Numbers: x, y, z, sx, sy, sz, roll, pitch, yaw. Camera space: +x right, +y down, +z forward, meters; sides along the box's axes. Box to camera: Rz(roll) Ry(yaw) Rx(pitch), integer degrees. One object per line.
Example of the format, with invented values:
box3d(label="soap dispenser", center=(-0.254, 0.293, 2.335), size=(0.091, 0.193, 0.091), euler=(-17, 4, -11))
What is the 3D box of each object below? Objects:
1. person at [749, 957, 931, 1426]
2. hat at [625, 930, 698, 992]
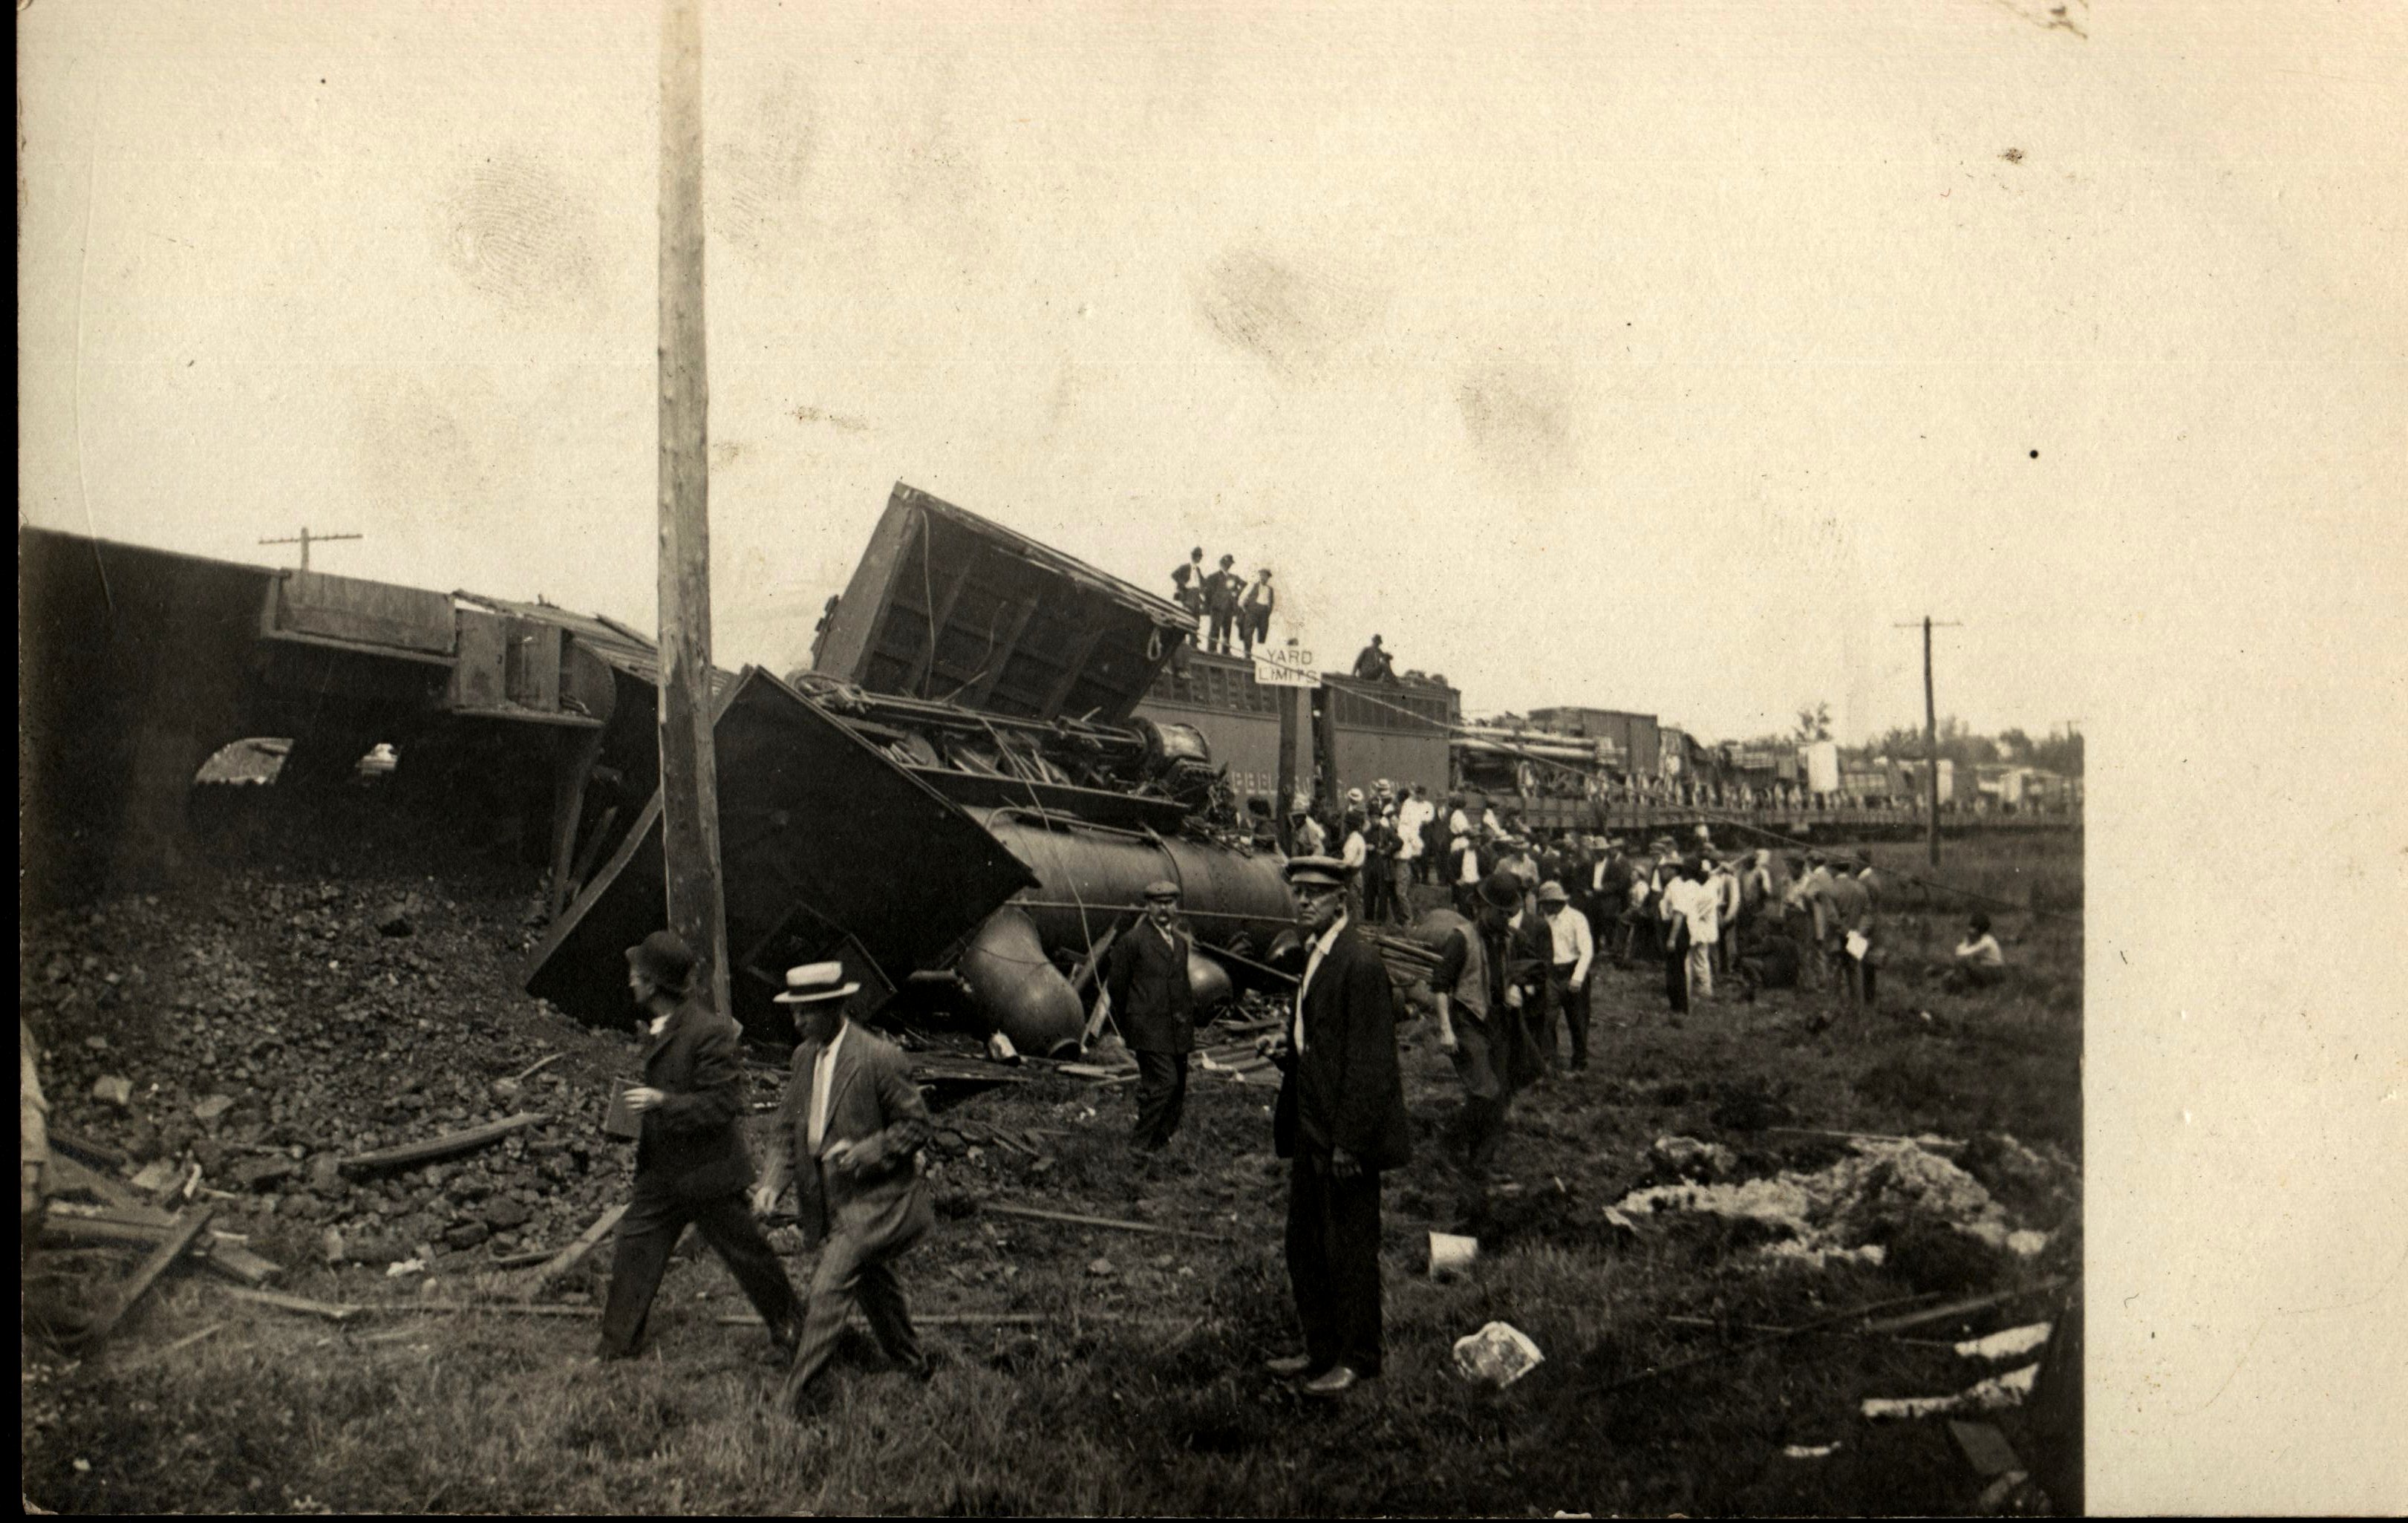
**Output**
box3d(label="person", center=(-2.112, 2.557, 12.189), size=(1.091, 2.686, 0.627), euler=(6, -1, -8))
box3d(label="hat", center=(-3.263, 1.172, 12.359), size=(0.376, 0.321, 0.314), euler=(19, 14, 10))
